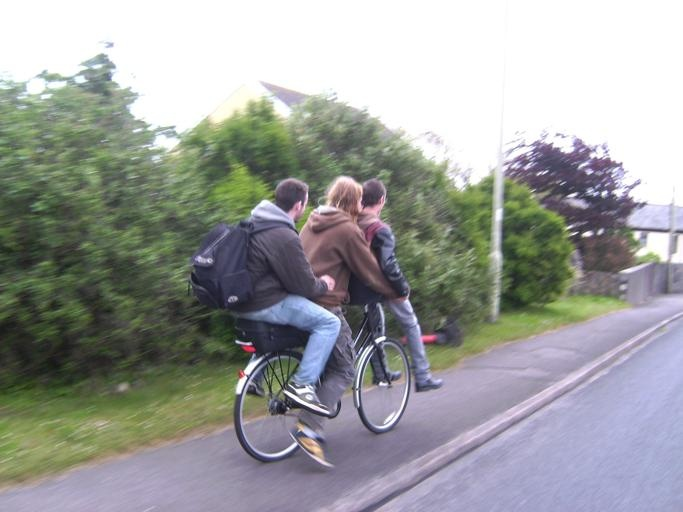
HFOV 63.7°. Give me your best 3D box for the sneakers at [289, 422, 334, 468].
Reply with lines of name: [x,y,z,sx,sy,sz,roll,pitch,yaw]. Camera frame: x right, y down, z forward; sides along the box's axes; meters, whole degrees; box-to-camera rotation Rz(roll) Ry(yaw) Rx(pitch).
sneakers: [-0.261,1.545,4.559,0.402,0.117,0.248,32,31,9]

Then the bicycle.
bicycle: [-0.027,0.971,5.290,1.003,1.578,2.433,-15,-11,41]

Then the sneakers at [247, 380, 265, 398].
sneakers: [-0.724,1.124,4.683,0.148,0.111,0.054,32,14,-11]
